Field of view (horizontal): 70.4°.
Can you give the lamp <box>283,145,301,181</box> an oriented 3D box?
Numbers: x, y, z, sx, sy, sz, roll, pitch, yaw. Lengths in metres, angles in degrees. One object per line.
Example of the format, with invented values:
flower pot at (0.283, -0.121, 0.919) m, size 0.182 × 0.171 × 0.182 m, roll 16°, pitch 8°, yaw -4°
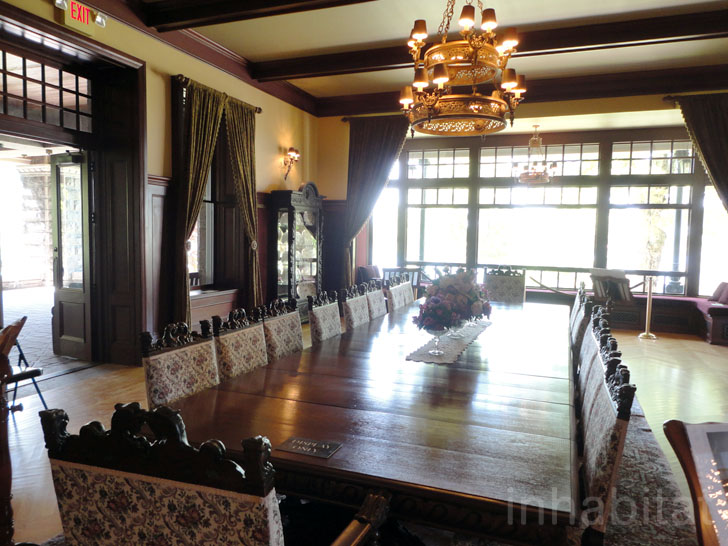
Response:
lamp at (-1.113, -1.746, 8.233) m, size 0.170 × 0.522 × 0.548 m, roll 3°, pitch 10°, yaw 10°
